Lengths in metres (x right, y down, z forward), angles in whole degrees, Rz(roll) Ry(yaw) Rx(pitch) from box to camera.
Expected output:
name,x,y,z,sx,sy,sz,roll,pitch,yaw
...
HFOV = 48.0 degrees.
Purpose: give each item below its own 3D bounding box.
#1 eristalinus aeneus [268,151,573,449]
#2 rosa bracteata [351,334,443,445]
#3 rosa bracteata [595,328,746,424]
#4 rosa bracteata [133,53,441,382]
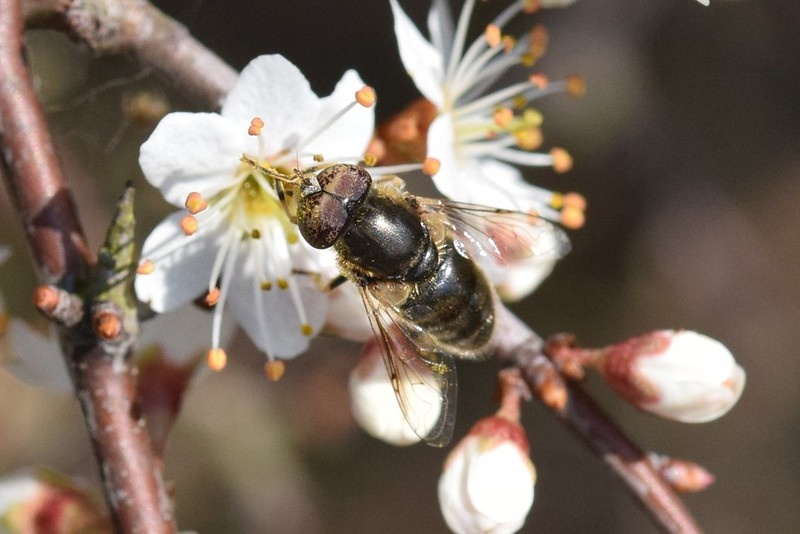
name,x,y,z,sx,sy,sz,roll,pitch,yaw
eristalinus aeneus,0.074,0.054,3.284,1.106,0.901,0.334,38,-13,-19
rosa bracteata,-0.028,0.468,3.306,0.302,0.396,0.247,-9,11,-26
rosa bracteata,0.865,0.342,2.833,0.351,0.284,0.124,1,-8,10
rosa bracteata,-0.472,-0.162,3.006,0.762,1.029,0.356,1,22,-11
